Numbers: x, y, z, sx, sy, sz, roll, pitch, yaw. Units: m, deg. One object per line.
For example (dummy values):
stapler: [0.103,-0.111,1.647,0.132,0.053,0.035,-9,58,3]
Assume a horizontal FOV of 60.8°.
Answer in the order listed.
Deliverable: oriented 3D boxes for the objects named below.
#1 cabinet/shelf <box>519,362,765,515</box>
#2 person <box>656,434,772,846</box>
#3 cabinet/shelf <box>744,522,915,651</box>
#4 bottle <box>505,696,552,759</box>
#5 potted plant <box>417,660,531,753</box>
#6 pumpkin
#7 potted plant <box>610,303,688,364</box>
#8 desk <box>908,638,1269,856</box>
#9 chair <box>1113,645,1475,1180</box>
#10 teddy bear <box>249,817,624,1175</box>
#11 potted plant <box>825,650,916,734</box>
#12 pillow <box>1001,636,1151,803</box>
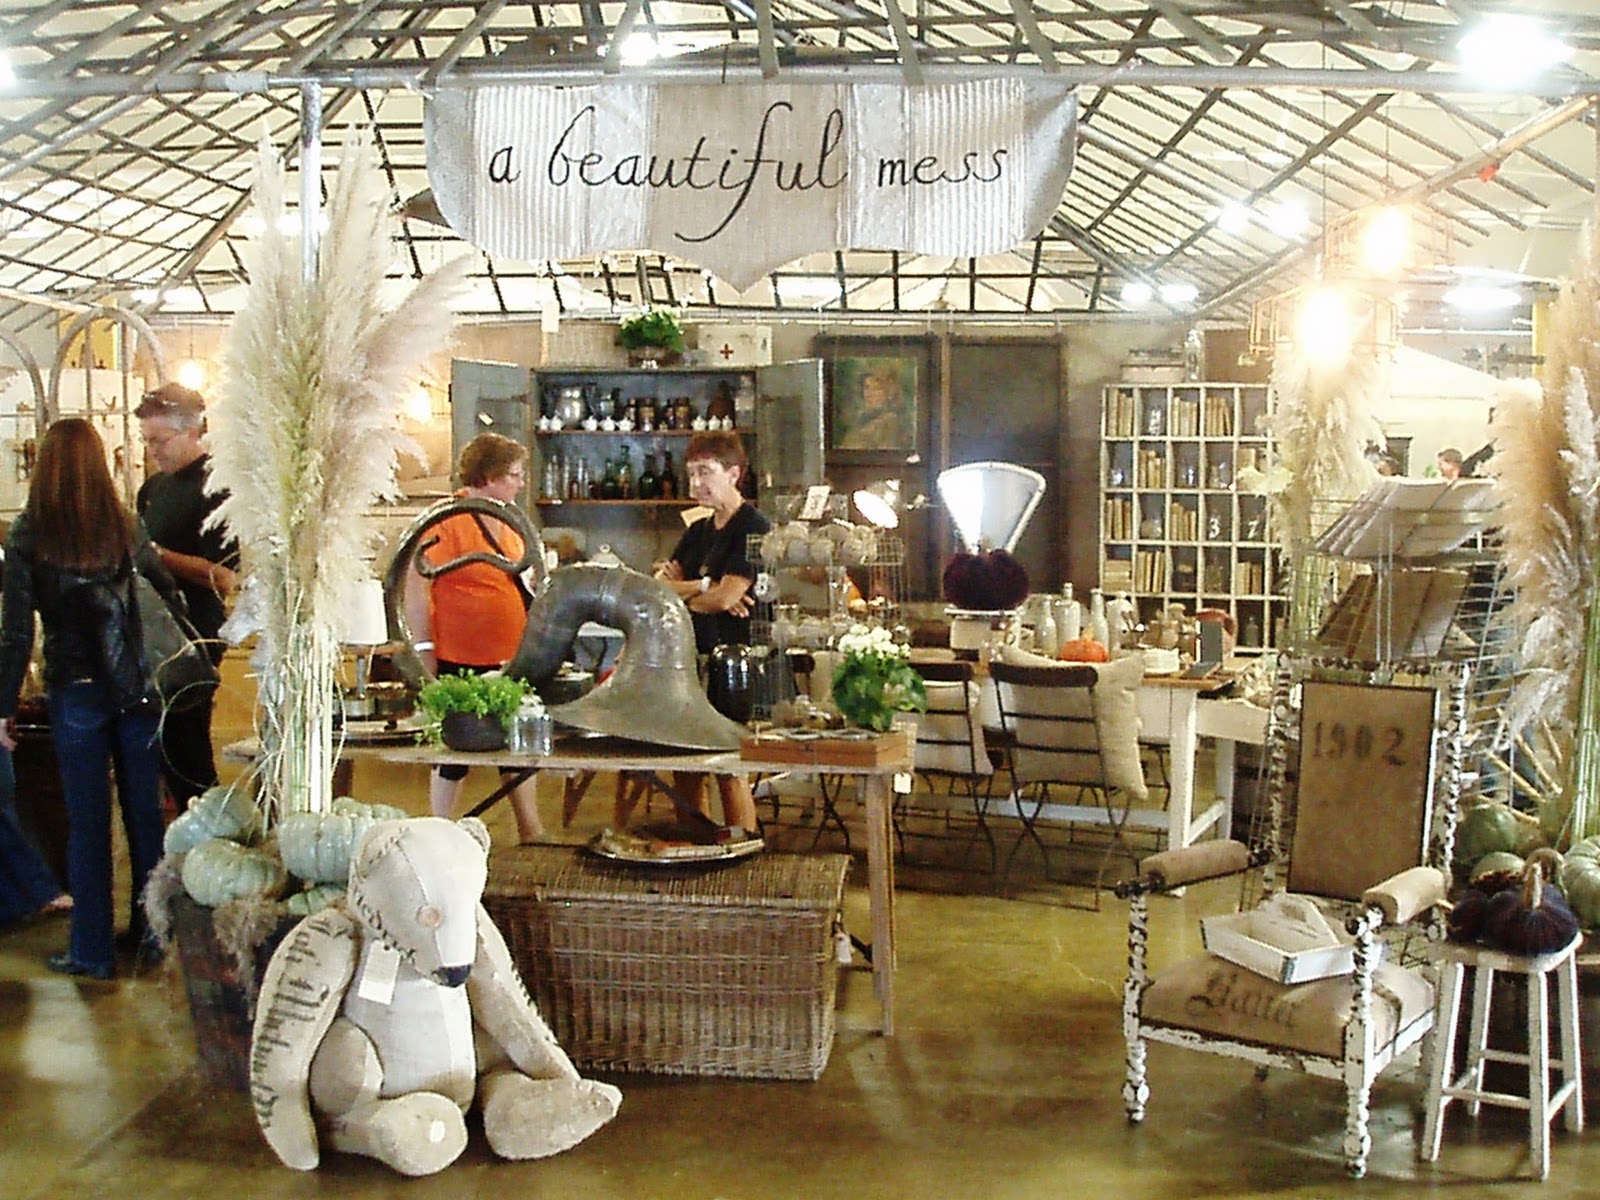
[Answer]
cabinet/shelf: [-1.209,-1.218,10.082,1.708,0.924,0.528,0,-1,-1]
person: [-0.304,0.164,5.886,0.417,1.786,0.511,-19,30,-23]
cabinet/shelf: [0.010,-0.089,4.870,0.604,0.564,0.435,0,0,30]
bottle: [-0.876,0.405,4.424,0.148,0.176,0.132,3,6,23]
potted plant: [-1.090,0.371,4.547,0.283,0.194,0.275,1,-5,-3]
pumpkin: [2.104,0.820,4.045,0.315,0.172,0.446,-2,10,17]
potted plant: [-1.220,-2.126,11.068,0.578,0.467,0.639,0,5,-6]
desk: [1.696,0.598,6.442,1.459,0.691,1.095,0,-1,22]
chair: [1.486,0.855,4.073,0.828,1.340,0.926,3,6,30]
teddy bear: [-1.008,1.070,3.768,0.935,0.881,0.721,3,5,-23]
potted plant: [0.245,0.286,4.472,0.273,0.254,0.125,-10,-18,-2]
pillow: [1.271,0.524,6.343,0.898,0.834,0.330,4,10,28]
